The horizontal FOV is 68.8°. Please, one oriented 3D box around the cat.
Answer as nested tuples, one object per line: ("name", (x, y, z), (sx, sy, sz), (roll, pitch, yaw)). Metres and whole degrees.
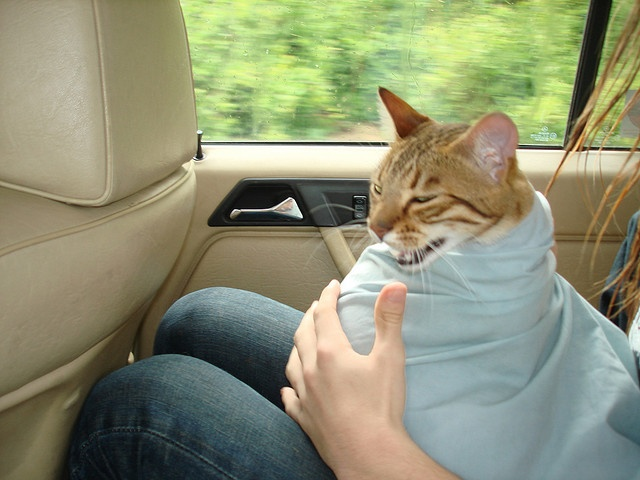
("cat", (0.377, -0.113, 1.256), (0.569, 0.532, 0.393), (-22, 30, -17))
